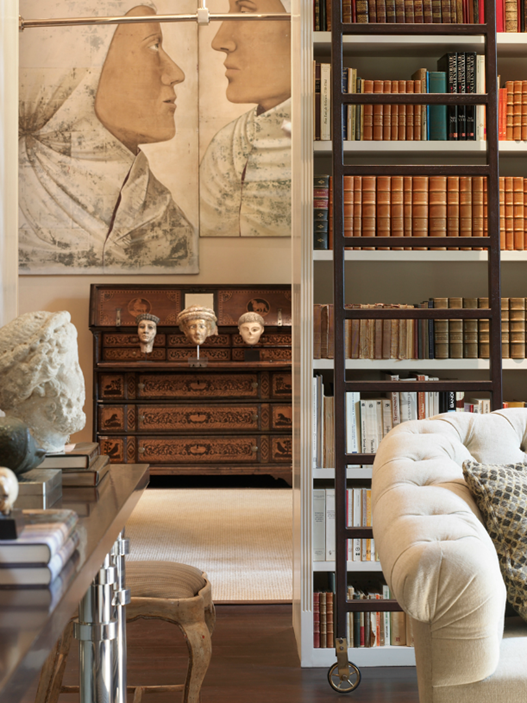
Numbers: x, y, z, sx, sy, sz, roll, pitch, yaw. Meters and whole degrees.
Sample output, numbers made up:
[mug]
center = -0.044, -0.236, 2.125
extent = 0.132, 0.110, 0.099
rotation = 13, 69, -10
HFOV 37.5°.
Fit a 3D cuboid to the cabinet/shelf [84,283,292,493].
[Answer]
[cabinet/shelf]
center = -0.469, 0.263, 4.968
extent = 1.492, 1.288, 0.616
rotation = 0, -1, -1
